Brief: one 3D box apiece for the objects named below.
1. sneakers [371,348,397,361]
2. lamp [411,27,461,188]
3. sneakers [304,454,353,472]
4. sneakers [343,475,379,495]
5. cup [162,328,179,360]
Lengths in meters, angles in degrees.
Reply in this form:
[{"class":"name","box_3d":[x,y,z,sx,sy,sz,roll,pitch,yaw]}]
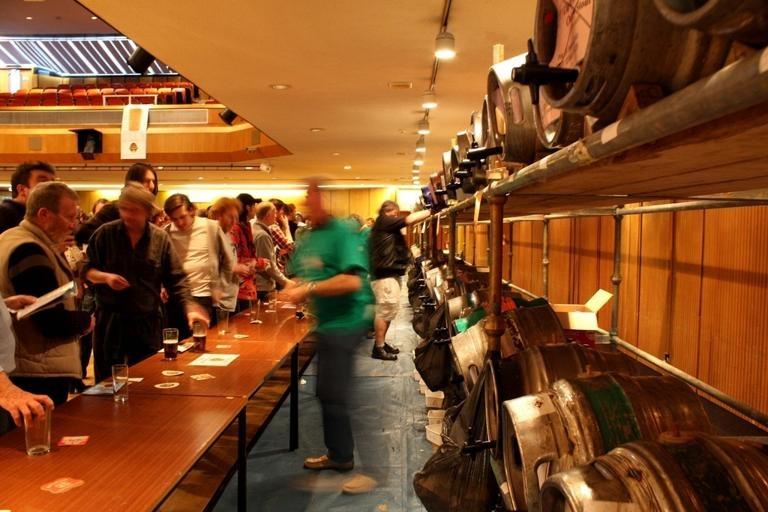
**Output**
[{"class":"sneakers","box_3d":[-0.005,1.101,5.907,0.321,0.173,0.111,-1,1,0]},{"class":"lamp","box_3d":[0.498,-1.851,6.157,0.214,1.307,0.481,15,35,8]},{"class":"sneakers","box_3d":[-0.368,1.377,3.561,0.345,0.118,0.118,7,-6,5]},{"class":"sneakers","box_3d":[-0.141,1.422,3.269,0.092,0.055,0.153,-8,-11,38]},{"class":"cup","box_3d":[-1.250,0.515,3.101,0.065,0.191,0.134,-4,8,-26]}]
